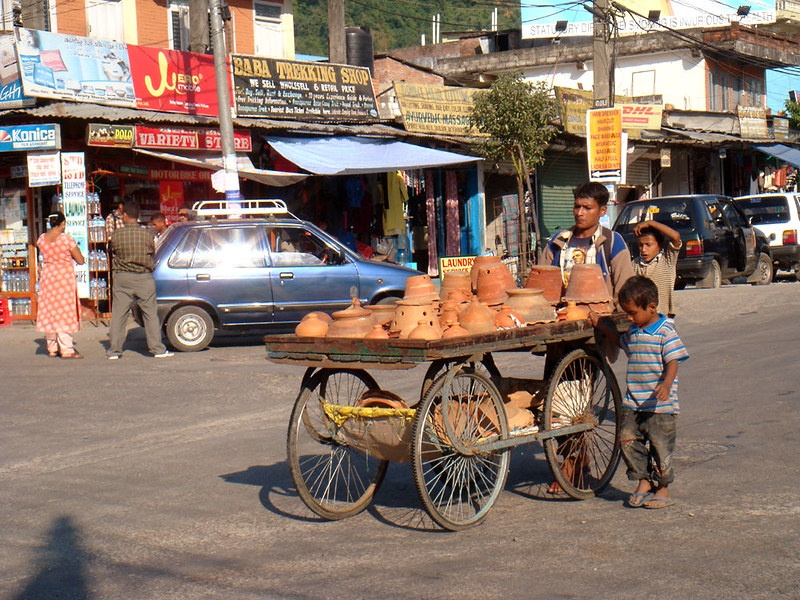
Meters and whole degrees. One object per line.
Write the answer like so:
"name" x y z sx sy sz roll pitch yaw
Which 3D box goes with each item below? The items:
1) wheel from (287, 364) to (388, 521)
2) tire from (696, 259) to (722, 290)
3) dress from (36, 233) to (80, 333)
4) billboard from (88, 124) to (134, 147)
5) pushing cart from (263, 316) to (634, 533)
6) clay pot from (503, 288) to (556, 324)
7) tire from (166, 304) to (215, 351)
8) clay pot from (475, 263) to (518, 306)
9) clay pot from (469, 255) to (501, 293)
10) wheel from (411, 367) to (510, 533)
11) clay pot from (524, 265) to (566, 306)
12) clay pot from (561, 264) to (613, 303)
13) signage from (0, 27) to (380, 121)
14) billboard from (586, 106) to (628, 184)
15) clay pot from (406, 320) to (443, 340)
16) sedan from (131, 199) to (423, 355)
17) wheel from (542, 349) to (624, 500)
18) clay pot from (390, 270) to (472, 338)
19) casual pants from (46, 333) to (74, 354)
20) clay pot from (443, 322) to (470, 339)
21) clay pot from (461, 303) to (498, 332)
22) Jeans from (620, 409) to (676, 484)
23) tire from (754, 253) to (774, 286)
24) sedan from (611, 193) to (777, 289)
"wheel" -0.498 1.179 7.438 0.208 0.994 1.038 14 29 32
"tire" 6.302 -0.536 19.257 0.228 0.602 0.601 0 1 32
"dress" -5.054 -0.213 13.817 0.598 1.459 0.576 -4 6 -21
"billboard" -5.076 -2.872 16.486 0.235 0.380 0.871 3 7 38
"pushing cart" 0.424 0.942 7.334 2.493 1.353 1.554 1 -4 -40
"clay pot" 0.989 0.053 7.216 0.295 0.253 0.303 -2 -4 0
"tire" -3.151 0.394 14.046 0.593 0.600 0.196 -10 6 -15
"clay pot" 0.764 -0.114 7.677 0.324 0.296 0.329 -3 0 0
"clay pot" 0.688 -0.193 7.951 0.363 0.348 0.326 -1 6 -15
"wheel" 0.444 1.130 6.897 0.224 1.158 1.196 -2 5 33
"clay pot" 1.201 -0.116 7.947 0.458 0.324 0.464 4 11 -1
"clay pot" 1.515 -0.148 7.688 0.475 0.295 0.458 -1 8 0
"signage" -3.992 -4.300 18.535 7.216 1.400 0.762 -5 7 -34
"billboard" 3.824 -2.871 17.520 0.674 1.394 0.595 0 6 13
"clay pot" 0.178 0.219 6.697 0.239 0.118 0.283 -2 6 -5
"sedan" -2.042 -0.416 14.977 3.772 1.862 2.151 -4 3 -14
"wheel" 1.416 1.004 7.421 0.233 1.118 1.189 3 -21 33
"clay pot" 0.171 0.065 7.073 0.593 0.572 0.377 3 0 -14
"casual pants" -5.006 0.655 13.827 0.255 0.342 0.582 -6 7 -41
"clay pot" 0.392 0.224 6.781 0.119 0.120 0.117 1 -4 0
"clay pot" 0.572 0.134 6.915 0.217 0.220 0.216 0 -1 0
"Jeans" 1.851 1.112 7.057 0.389 0.557 0.174 0 6 16
"tire" 8.167 -0.669 21.246 0.246 0.716 0.715 -14 -6 41
"sedan" 6.439 -1.245 20.064 2.235 1.807 3.698 2 7 42
